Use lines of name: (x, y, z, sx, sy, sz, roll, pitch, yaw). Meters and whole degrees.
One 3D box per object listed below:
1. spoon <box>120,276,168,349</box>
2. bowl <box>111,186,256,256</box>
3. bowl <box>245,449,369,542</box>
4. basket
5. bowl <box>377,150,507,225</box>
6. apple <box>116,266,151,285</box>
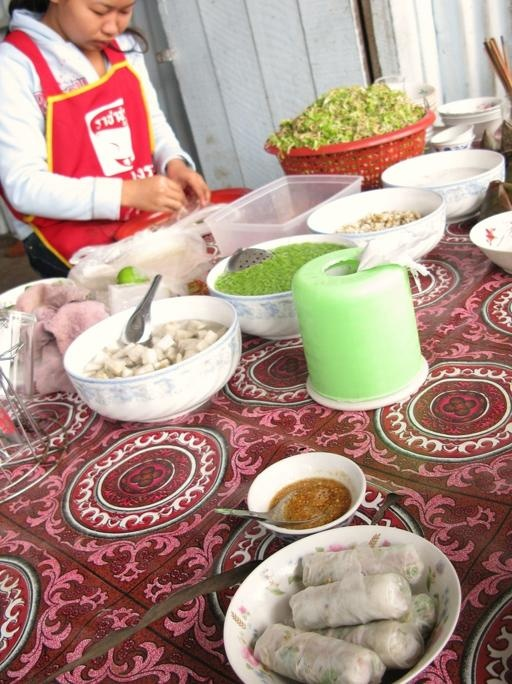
spoon: (-0.188, -0.050, 1.013, 0.116, 0.042, 0.028, -69, 13, -20)
bowl: (-0.219, -0.355, 1.608, 0.355, 0.061, 0.239, -10, 22, 16)
bowl: (0.052, 0.183, 0.670, 0.103, 0.034, 0.100, -15, 17, 5)
basket: (0.239, -0.451, 1.423, 0.285, 0.096, 0.250, -15, 18, 21)
bowl: (0.423, -0.358, 1.308, 0.225, 0.088, 0.216, -14, 25, 7)
apple: (-0.244, -0.131, 1.189, 0.060, 0.040, 0.037, 9, 55, -12)
